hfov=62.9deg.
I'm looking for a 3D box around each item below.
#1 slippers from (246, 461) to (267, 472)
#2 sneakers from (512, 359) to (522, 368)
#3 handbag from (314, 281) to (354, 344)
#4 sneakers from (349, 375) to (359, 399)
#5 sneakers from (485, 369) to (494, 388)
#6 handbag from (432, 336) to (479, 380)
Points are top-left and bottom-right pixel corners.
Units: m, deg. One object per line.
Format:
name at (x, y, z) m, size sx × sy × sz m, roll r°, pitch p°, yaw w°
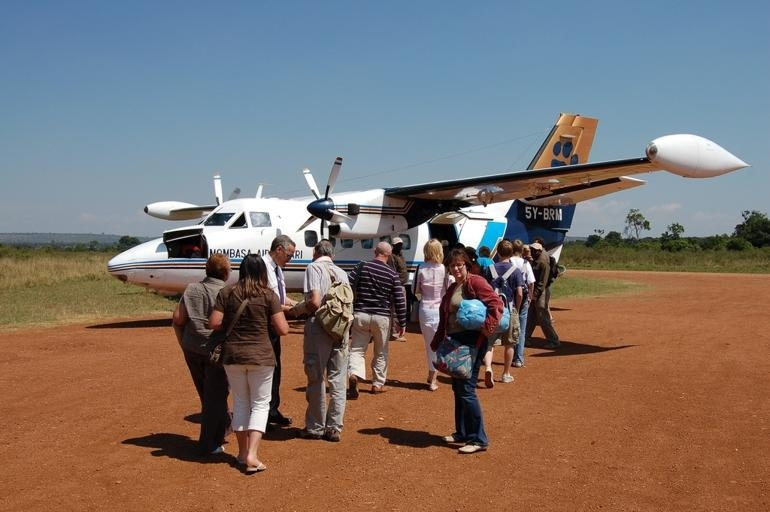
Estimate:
slippers at (-1.739, 2.877, 8.491) m, size 0.139 × 0.068 × 0.253 m, roll 5°, pitch 6°, yaw 29°
sneakers at (2.710, 2.261, 13.011) m, size 0.193 × 0.203 × 0.494 m, roll -1°, pitch -13°, yaw 10°
handbag at (-0.776, 0.797, 9.390) m, size 0.504 × 0.771 × 0.659 m, roll 6°, pitch -18°, yaw 25°
sneakers at (-0.564, 2.308, 10.857) m, size 0.175 × 0.414 × 0.188 m, roll 0°, pitch 10°, yaw -3°
sneakers at (1.838, 2.227, 11.240) m, size 0.163 × 0.376 × 0.174 m, roll -2°, pitch 7°, yaw 5°
handbag at (1.004, 1.428, 9.033) m, size 0.443 × 0.655 × 0.780 m, roll -2°, pitch 5°, yaw -37°
